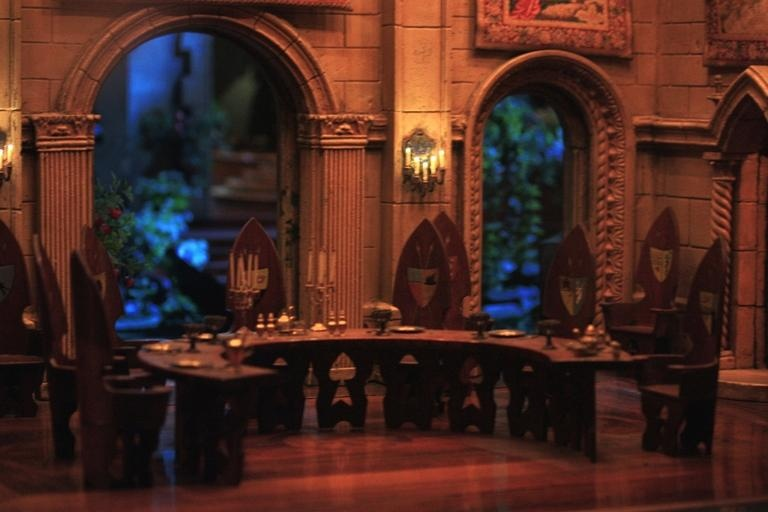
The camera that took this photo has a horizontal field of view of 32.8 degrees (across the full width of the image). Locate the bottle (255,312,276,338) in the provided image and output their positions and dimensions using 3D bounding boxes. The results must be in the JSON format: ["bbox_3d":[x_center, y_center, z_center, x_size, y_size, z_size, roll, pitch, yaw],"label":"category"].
[{"bbox_3d":[-1.181,0.681,12.730,0.088,0.192,0.215,-3,6,-35],"label":"bottle"}]

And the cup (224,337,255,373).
[{"bbox_3d":[-1.330,0.853,11.552,0.279,0.312,0.242,3,-10,6],"label":"cup"}]

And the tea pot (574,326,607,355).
[{"bbox_3d":[1.911,0.787,12.121,0.300,0.187,0.283,0,2,0],"label":"tea pot"}]

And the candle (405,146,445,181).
[{"bbox_3d":[0.406,-1.027,14.245,0.421,0.354,0.138,1,-1,-21],"label":"candle"}]
